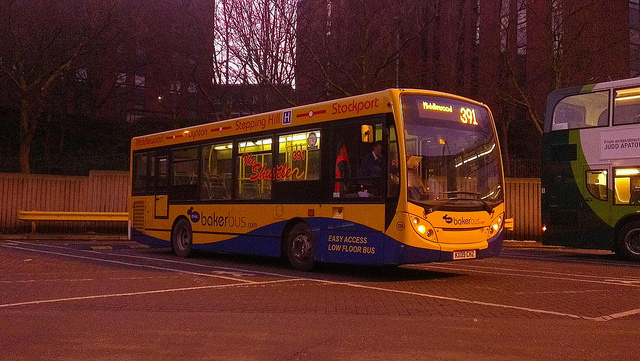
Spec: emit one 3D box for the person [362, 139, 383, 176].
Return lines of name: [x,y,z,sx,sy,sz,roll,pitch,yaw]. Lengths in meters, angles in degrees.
person: [1.654,-0.666,16.496,0.849,1.391,0.905,0,4,-2]

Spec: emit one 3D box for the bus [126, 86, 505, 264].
bus: [-1.352,-0.064,20.513,15.674,5.597,3.589,1,2,36]
